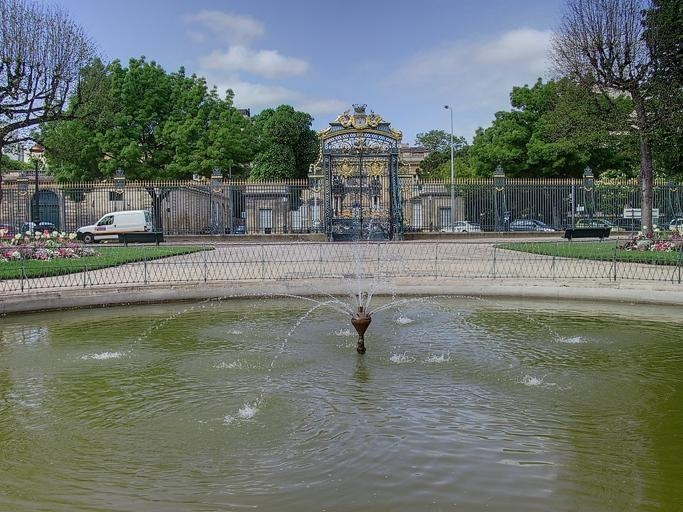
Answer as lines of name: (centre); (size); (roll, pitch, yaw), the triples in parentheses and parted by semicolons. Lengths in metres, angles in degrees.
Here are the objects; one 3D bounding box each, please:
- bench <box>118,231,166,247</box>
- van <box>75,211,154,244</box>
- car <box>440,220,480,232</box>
bench: (-8.415, -0.738, 30.940); (1.798, 0.590, 1.167); (-2, 12, -10)
van: (-11.066, -1.455, 36.309); (3.234, 1.535, 1.932); (1, 1, -8)
car: (6.299, -1.490, 38.257); (1.706, 0.692, 0.856); (1, 1, 0)
